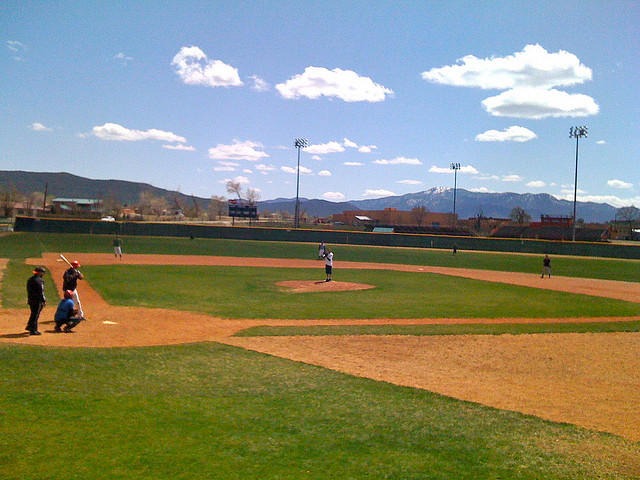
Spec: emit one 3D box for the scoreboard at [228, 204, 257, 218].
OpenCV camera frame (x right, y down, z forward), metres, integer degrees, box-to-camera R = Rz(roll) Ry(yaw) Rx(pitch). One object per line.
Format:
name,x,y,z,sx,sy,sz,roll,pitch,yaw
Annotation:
scoreboard,-12.054,-4.470,107.686,3.867,1.814,0.184,7,17,19

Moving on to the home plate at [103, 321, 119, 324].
home plate,-7.672,3.011,25.358,0.525,0.023,0.434,0,10,-18

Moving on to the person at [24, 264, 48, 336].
person,-9.570,2.034,23.208,0.619,2.214,1.020,-1,10,-23

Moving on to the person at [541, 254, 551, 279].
person,15.130,1.779,46.173,0.477,1.576,1.894,6,10,17
